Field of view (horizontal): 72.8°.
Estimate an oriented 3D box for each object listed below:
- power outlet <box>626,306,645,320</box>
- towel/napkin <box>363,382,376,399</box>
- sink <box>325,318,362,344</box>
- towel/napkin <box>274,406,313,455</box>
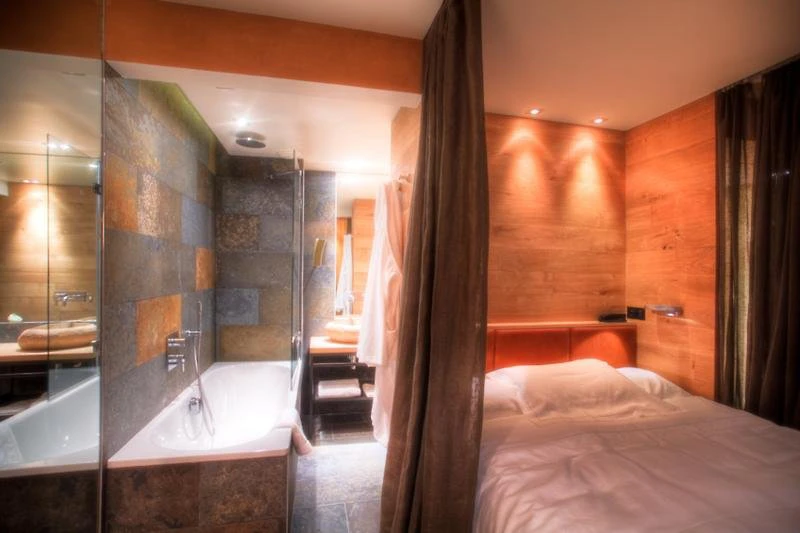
[{"bbox_3d":[1.884,0.369,4.340,0.035,0.089,0.139,2,1,-21],"label":"power outlet"},{"bbox_3d":[-0.288,1.143,4.925,0.102,0.141,0.254,-1,-4,-5],"label":"towel/napkin"},{"bbox_3d":[-0.543,0.598,5.115,0.336,0.247,0.473,-1,-4,-7],"label":"sink"},{"bbox_3d":[-0.708,1.119,3.663,0.117,0.295,0.285,-18,-11,-21],"label":"towel/napkin"}]
